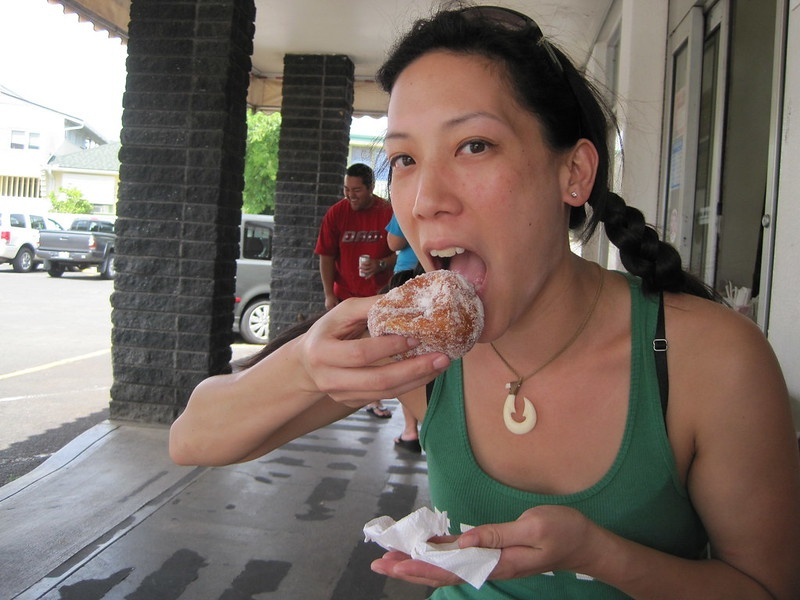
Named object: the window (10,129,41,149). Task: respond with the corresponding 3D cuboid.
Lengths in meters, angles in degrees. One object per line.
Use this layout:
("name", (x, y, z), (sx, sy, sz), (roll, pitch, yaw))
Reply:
("window", (-22.709, -9.714, 39.861), (1.003, 1.326, 1.910), (1, 4, 32))

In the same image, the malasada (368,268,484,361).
("malasada", (0.098, 0.058, 2.162), (0.337, 0.283, 0.143), (-11, -32, 20))

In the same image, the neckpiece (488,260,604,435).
("neckpiece", (0.448, 0.173, 2.303), (0.306, 0.543, 0.044), (7, -20, 31))

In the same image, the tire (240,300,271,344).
("tire", (-2.215, 0.320, 10.081), (0.551, 0.544, 0.177), (-17, 16, -27))

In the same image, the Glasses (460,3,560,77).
("Glasses", (0.379, -0.983, 2.308), (0.276, 0.076, 0.274), (34, 7, 40))

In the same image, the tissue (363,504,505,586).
("tissue", (0.099, 0.767, 2.042), (0.354, 0.099, 0.246), (14, 12, 28))
